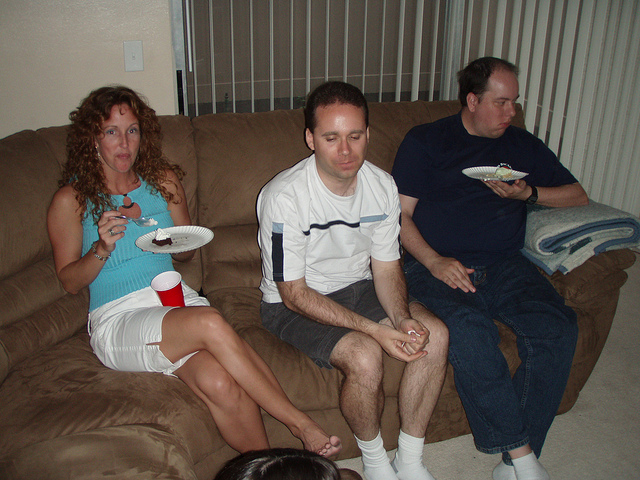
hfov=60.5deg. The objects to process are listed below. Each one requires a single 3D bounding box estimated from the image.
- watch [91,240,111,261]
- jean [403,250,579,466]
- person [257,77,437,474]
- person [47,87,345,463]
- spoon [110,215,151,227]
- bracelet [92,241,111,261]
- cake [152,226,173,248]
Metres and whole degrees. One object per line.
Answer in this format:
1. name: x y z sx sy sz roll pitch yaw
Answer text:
1. watch: -0.982 0.042 2.434 0.069 0.092 0.029 -6 11 -6
2. jean: 0.874 0.421 2.813 0.698 0.406 1.276 -2 44 -2
3. person: 0.102 0.173 2.416 0.764 1.595 0.783 -7 23 -8
4. person: -0.545 0.151 2.410 1.721 1.334 0.711 28 33 31
5. spoon: -0.868 -0.096 2.548 0.192 0.047 0.027 14 -13 -40
6. bracelet: -0.978 0.053 2.459 0.067 0.119 0.099 -12 24 -18
7. cake: -0.731 -0.012 2.544 0.068 0.049 0.097 -27 35 -26
